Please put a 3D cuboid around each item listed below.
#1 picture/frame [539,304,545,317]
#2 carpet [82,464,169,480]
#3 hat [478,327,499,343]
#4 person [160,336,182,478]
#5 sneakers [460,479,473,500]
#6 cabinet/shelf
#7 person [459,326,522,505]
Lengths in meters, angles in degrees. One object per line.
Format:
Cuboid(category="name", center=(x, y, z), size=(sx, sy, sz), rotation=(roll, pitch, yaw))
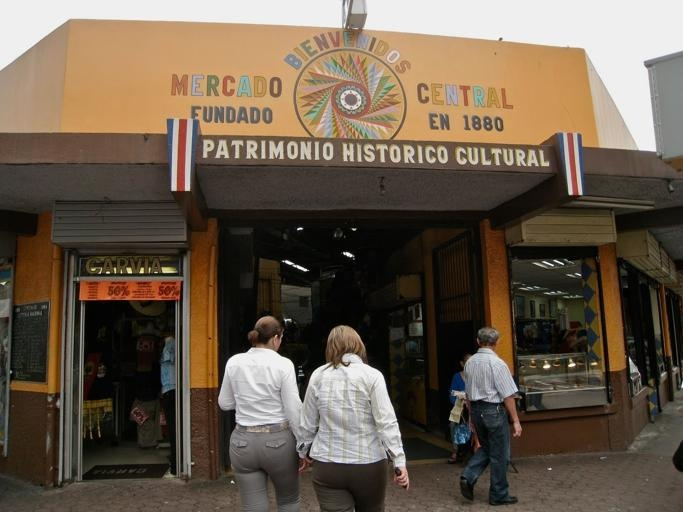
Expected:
Cuboid(category="picture/frame", center=(3.196, 0.862, 9.330), size=(0.135, 0.193, 0.076), rotation=(-1, 1, -30))
Cuboid(category="carpet", center=(-3.037, 3.048, 8.324), size=(1.125, 0.051, 0.687), rotation=(0, 2, -4))
Cuboid(category="hat", center=(1.823, 1.002, 7.381), size=(0.177, 0.222, 0.214), rotation=(3, 12, 15))
Cuboid(category="person", center=(-2.419, 2.091, 8.204), size=(0.218, 1.899, 0.628), rotation=(0, 1, -17))
Cuboid(category="sneakers", center=(1.525, 2.817, 7.133), size=(0.100, 0.328, 0.133), rotation=(-11, 0, 17))
Cuboid(category="cabinet/shelf", center=(3.270, 1.985, 9.180), size=(1.204, 0.810, 0.726), rotation=(-5, -12, -1))
Cuboid(category="person", center=(1.810, 1.940, 7.211), size=(0.694, 2.091, 0.432), rotation=(0, 1, 12))
